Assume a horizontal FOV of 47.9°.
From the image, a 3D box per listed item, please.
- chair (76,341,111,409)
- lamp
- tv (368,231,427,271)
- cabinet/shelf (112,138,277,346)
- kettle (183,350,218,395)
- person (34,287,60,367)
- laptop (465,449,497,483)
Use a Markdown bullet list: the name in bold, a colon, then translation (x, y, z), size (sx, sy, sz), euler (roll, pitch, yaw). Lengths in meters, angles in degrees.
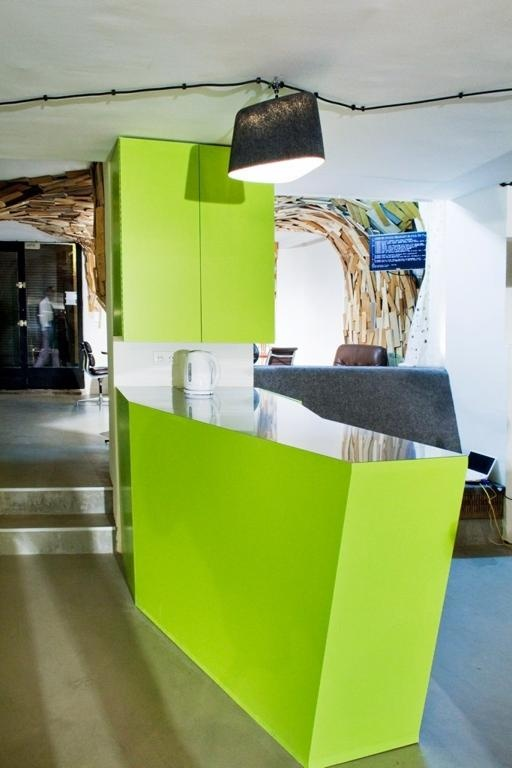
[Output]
- **chair**: translation (-2.475, -0.131, 9.103), size (0.491, 0.919, 0.523), euler (3, -2, -4)
- **lamp**: translation (0.091, -1.006, 2.384), size (0.335, 0.287, 0.404), euler (4, -2, -36)
- **tv**: translation (1.358, -1.318, 5.680), size (0.205, 0.438, 0.791), euler (3, -2, -28)
- **cabinet/shelf**: translation (-0.374, -0.850, 3.311), size (0.971, 1.424, 0.678), euler (-1, 6, -12)
- **kettle**: translation (-0.284, -0.053, 2.893), size (0.125, 0.251, 0.217), euler (-2, 7, -31)
- **person**: translation (-3.721, -1.023, 10.353), size (0.388, 1.435, 0.153), euler (3, -2, -22)
- **laptop**: translation (1.834, 0.688, 4.698), size (0.208, 0.240, 0.313), euler (1, -2, 24)
